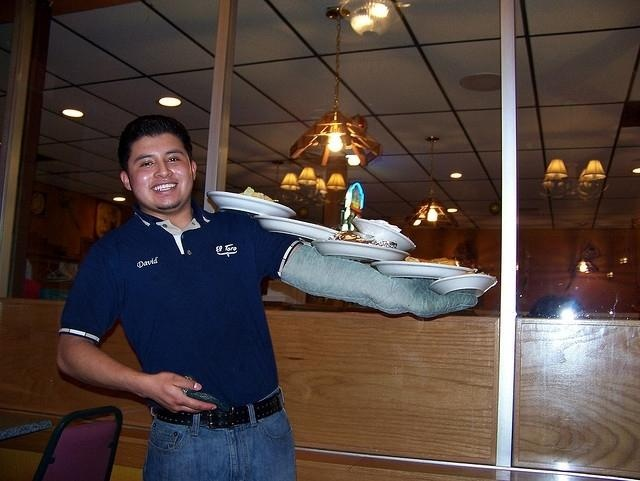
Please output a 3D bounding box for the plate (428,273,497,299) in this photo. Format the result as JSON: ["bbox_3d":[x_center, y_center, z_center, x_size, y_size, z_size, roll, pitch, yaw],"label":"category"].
[{"bbox_3d":[0.412,0.123,1.357,0.206,0.059,0.103,8,-12,-33],"label":"plate"}]

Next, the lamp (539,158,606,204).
[{"bbox_3d":[2.664,-0.624,4.996,0.751,0.363,0.720,-5,-16,28],"label":"lamp"}]

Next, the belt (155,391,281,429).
[{"bbox_3d":[-0.293,0.503,1.427,0.392,0.096,0.214,4,-10,-15],"label":"belt"}]

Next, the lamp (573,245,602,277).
[{"bbox_3d":[2.876,0.212,5.184,0.183,0.277,0.281,-18,-33,41],"label":"lamp"}]

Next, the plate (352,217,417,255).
[{"bbox_3d":[0.196,-0.013,1.448,0.131,0.043,0.124,28,-9,-14],"label":"plate"}]

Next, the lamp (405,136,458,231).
[{"bbox_3d":[1.402,-0.750,6.078,0.882,1.137,0.691,0,-8,0],"label":"lamp"}]
